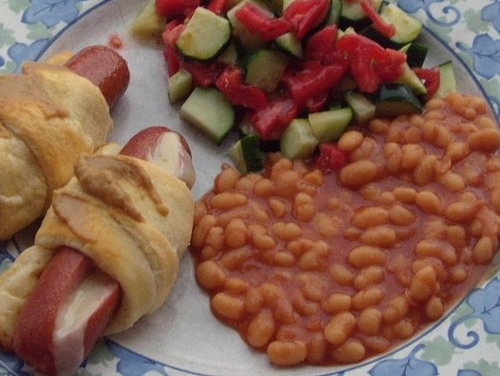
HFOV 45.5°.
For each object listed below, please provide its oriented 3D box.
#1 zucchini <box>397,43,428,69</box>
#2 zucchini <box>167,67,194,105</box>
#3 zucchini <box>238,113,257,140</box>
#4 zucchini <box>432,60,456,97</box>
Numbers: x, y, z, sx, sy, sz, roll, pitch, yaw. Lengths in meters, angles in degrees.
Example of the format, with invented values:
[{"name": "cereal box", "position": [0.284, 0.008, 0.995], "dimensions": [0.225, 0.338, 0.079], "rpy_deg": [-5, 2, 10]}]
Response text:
[{"name": "zucchini", "position": [1.072, -0.870, 3.925], "dimensions": [0.183, 0.172, 0.049], "rpy_deg": [38, 13, -19]}, {"name": "zucchini", "position": [-0.448, -0.674, 3.917], "dimensions": [0.127, 0.234, 0.195], "rpy_deg": [19, -2, -31]}, {"name": "zucchini", "position": [-0.022, -0.397, 3.853], "dimensions": [0.038, 0.136, 0.148], "rpy_deg": [10, 43, -32]}, {"name": "zucchini", "position": [1.280, -0.716, 3.935], "dimensions": [0.195, 0.219, 0.053], "rpy_deg": [-6, 3, -39]}]
